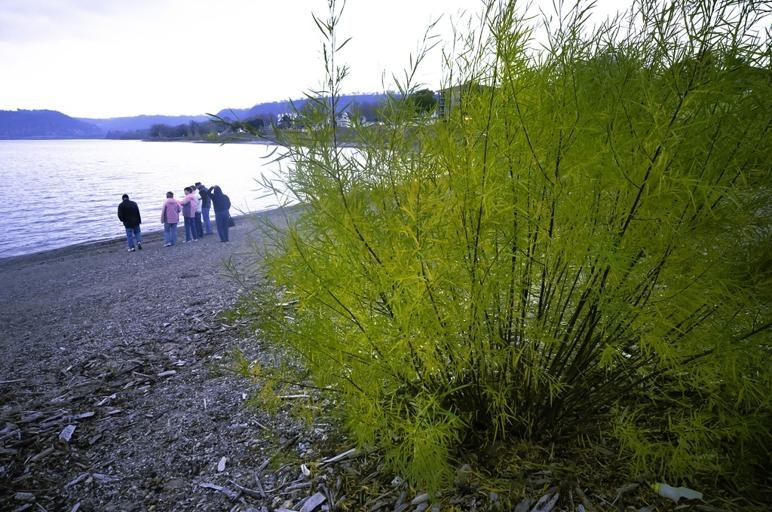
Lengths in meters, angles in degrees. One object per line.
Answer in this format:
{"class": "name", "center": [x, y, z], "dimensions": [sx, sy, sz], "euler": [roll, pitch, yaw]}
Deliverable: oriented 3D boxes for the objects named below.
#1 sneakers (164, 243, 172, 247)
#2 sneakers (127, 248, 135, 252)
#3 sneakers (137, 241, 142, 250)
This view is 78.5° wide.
{"class": "sneakers", "center": [-6.667, -0.350, 14.526], "dimensions": [0.214, 0.130, 0.071], "euler": [9, 10, 14]}
{"class": "sneakers", "center": [-7.660, -0.193, 14.297], "dimensions": [0.244, 0.103, 0.091], "euler": [0, 21, 25]}
{"class": "sneakers", "center": [-7.415, -0.321, 14.321], "dimensions": [0.074, 0.222, 0.158], "euler": [13, 1, 37]}
